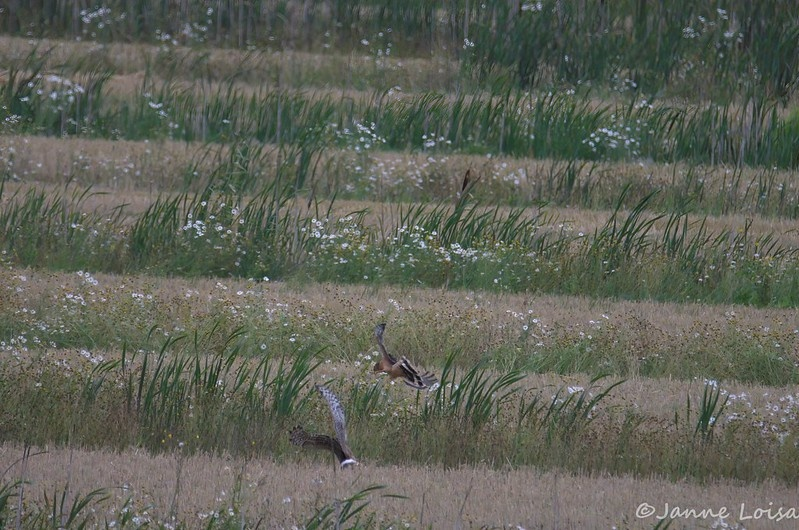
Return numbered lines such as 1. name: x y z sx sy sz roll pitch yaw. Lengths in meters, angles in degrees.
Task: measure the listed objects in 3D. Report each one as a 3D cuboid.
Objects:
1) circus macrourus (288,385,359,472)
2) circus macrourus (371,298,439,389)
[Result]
1. circus macrourus: -0.983 2.231 28.226 1.000 1.009 0.448 -10 38 5
2. circus macrourus: 0.032 1.301 28.981 1.064 1.020 0.704 25 34 22
